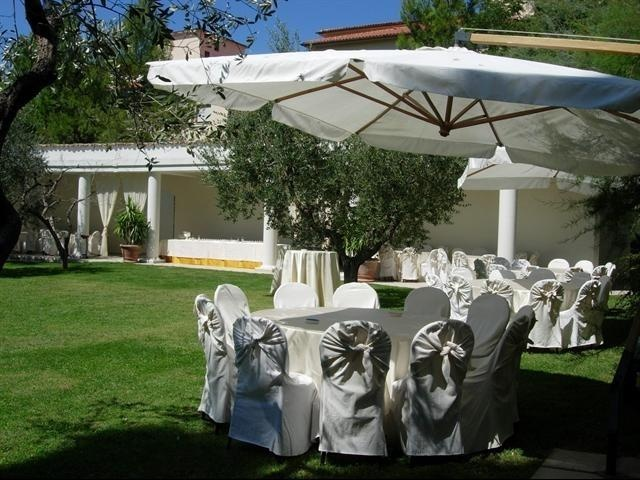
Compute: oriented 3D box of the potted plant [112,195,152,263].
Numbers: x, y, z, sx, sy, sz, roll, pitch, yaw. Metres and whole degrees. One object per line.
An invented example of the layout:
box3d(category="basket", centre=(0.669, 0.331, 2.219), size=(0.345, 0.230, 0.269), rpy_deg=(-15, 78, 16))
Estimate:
box3d(category="potted plant", centre=(-7.227, -0.445, 20.896), size=(1.144, 2.415, 3.317), rpy_deg=(0, 1, -21))
